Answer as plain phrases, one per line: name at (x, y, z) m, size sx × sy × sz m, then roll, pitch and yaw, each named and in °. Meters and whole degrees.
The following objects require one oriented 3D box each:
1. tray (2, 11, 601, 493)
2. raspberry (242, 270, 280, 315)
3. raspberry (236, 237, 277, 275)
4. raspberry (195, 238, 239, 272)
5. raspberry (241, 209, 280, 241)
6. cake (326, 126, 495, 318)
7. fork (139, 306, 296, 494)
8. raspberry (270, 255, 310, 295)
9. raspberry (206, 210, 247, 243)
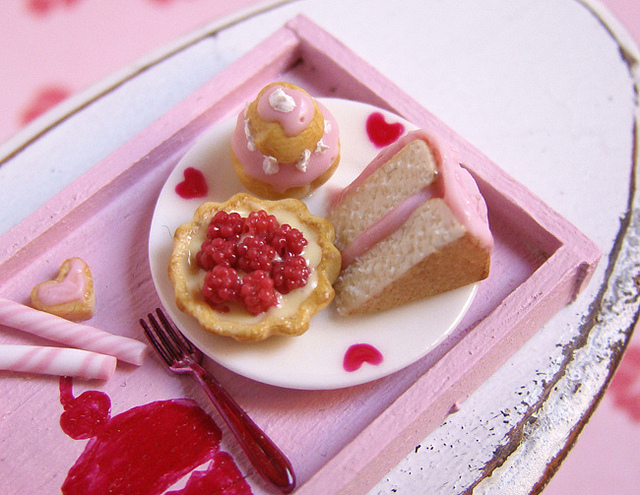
tray at (-0.179, 0.212, 2.125) m, size 1.590 × 0.187 × 1.135 m, roll -42°, pitch 77°, yaw -12°
raspberry at (-0.159, 0.110, 1.748) m, size 0.050 × 0.106 × 0.086 m, roll -9°, pitch 103°, yaw 16°
raspberry at (-0.163, 0.020, 1.728) m, size 0.069 × 0.062 × 0.105 m, roll 2°, pitch 58°, yaw -13°
raspberry at (-0.267, 0.016, 1.741) m, size 0.094 × 0.058 × 0.081 m, roll -21°, pitch 83°, yaw -1°
raspberry at (-0.157, -0.063, 1.764) m, size 0.064 × 0.050 × 0.094 m, roll 25°, pitch 36°, yaw -11°
cake at (0.210, -0.075, 1.801) m, size 0.466 × 0.281 × 0.424 m, roll -13°, pitch 75°, yaw -3°
fork at (-0.259, 0.420, 1.761) m, size 0.088 × 0.059 × 0.532 m, roll -30°, pitch 79°, yaw -27°
raspberry at (-0.086, 0.059, 1.795) m, size 0.108 × 0.084 × 0.118 m, roll -3°, pitch 35°, yaw -9°
raspberry at (-0.246, -0.061, 1.769) m, size 0.079 × 0.046 × 0.090 m, roll 19°, pitch 69°, yaw 12°
